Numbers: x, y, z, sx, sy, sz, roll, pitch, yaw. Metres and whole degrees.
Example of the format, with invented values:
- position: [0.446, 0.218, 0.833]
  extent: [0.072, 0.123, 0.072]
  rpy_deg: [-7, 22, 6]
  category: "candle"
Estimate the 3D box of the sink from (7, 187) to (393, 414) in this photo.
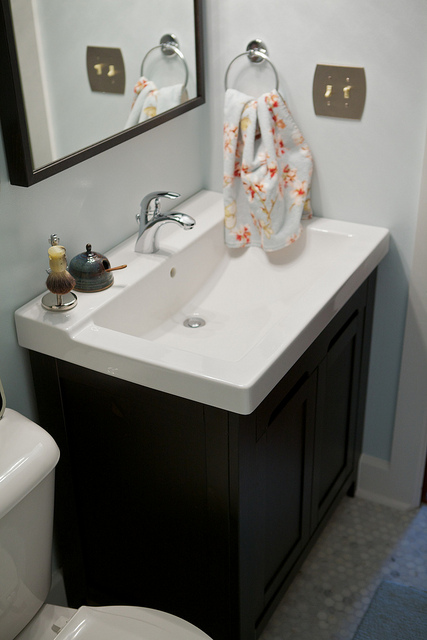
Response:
- position: [-0.018, -0.015, 1.031]
  extent: [0.437, 0.167, 0.690]
  rpy_deg: [21, 46, 22]
  category: "sink"

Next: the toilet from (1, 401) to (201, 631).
- position: [-0.201, 0.359, 0.947]
  extent: [0.335, 0.580, 0.196]
  rpy_deg: [8, 33, 10]
  category: "toilet"

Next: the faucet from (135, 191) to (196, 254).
- position: [-0.112, -0.211, 1.104]
  extent: [0.152, 0.143, 0.044]
  rpy_deg: [18, 34, 29]
  category: "faucet"
